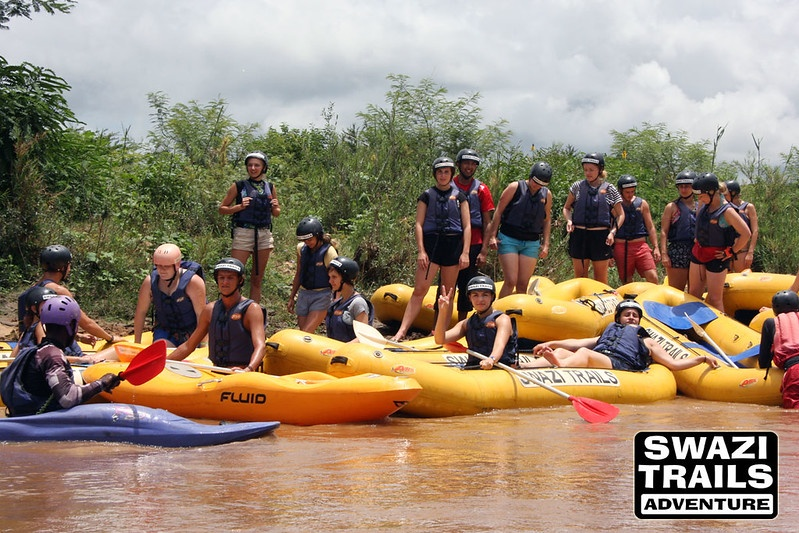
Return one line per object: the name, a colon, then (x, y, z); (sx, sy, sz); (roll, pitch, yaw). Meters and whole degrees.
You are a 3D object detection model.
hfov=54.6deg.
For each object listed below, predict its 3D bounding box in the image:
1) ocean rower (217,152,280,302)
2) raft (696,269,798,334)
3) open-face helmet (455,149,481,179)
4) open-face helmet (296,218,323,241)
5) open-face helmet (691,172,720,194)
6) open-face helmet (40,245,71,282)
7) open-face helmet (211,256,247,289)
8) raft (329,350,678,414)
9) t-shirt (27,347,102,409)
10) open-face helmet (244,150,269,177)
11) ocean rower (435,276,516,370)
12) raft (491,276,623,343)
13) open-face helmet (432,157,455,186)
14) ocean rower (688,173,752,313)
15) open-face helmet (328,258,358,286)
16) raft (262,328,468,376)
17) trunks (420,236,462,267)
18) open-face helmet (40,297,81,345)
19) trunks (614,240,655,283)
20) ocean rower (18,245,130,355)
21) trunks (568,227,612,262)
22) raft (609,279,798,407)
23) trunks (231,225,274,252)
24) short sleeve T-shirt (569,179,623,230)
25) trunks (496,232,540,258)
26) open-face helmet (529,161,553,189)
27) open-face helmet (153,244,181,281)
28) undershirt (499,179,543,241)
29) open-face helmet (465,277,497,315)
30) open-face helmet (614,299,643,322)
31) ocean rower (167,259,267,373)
ocean rower: (-2.192, -0.508, 11.715); (0.865, 2.354, 0.669); (-2, 6, -32)
raft: (5.772, 0.503, 12.966); (1.353, 0.978, 0.446); (-4, -39, 1)
open-face helmet: (0.969, -1.516, 11.294); (0.338, 0.450, 0.417); (1, -2, -17)
open-face helmet: (-1.274, -0.542, 11.008); (0.284, 0.303, 0.368); (-9, -5, 38)
open-face helmet: (4.553, -1.255, 11.570); (0.384, 0.330, 0.297); (2, -5, -7)
open-face helmet: (-4.269, -0.053, 9.668); (0.371, 0.482, 0.389); (3, 13, -9)
open-face helmet: (-1.988, 0.054, 9.123); (0.308, 0.282, 0.374); (2, 15, -1)
raft: (1.369, 1.443, 9.515); (3.141, 0.537, 1.512); (7, -5, -22)
t-shirt: (-3.317, 1.109, 7.671); (0.658, 0.321, 0.517); (26, 7, -25)
open-face helmet: (-2.146, -1.561, 11.644); (0.326, 0.379, 0.405); (1, 4, 9)
ocean rower: (0.999, 0.747, 10.063); (0.649, 1.274, 0.750); (-15, -28, 29)
raft: (2.487, 0.657, 11.812); (1.579, 0.542, 1.048); (-4, 5, -36)
open-face helmet: (0.645, -1.329, 11.012); (0.298, 0.443, 0.353); (0, 6, 4)
ocean rower: (4.972, -0.309, 12.055); (0.788, 2.397, 1.020); (-28, 43, -12)
open-face helmet: (-0.728, 0.052, 10.226); (0.371, 0.308, 0.294); (16, 1, -3)
raft: (-0.546, 1.053, 9.709); (1.832, 0.379, 0.997); (3, -3, -21)
trunks: (0.641, -0.233, 11.200); (0.580, 0.506, 0.409); (2, -4, 13)
open-face helmet: (-3.428, 0.545, 7.778); (0.391, 0.508, 0.443); (6, 0, -12)
trunks: (4.075, -0.108, 13.398); (0.547, 0.766, 0.437); (-13, 34, 2)
ocean rower: (-4.293, 0.401, 9.729); (1.264, 1.611, 1.228); (-9, 8, -38)
trunks: (3.169, -0.367, 12.804); (0.834, 0.664, 0.478); (6, 32, 18)
raft: (4.365, 1.123, 11.158); (1.149, 0.466, 2.295); (2, 25, -19)
trunks: (-2.203, -0.405, 11.678); (0.553, 0.405, 0.342); (5, -9, -26)
short sleeve T-shirt: (3.170, -1.002, 12.637); (0.850, 0.865, 0.463); (6, -7, 10)
trunks: (1.803, -0.285, 11.638); (0.526, 0.503, 0.365); (4, 6, -9)
open-face helmet: (2.138, -1.415, 11.661); (0.295, 0.314, 0.382); (4, 42, -24)
open-face helmet: (-2.922, -0.059, 9.687); (0.363, 0.509, 0.436); (1, 3, 8)
undershirt: (1.941, -0.854, 11.616); (0.586, 0.801, 0.429); (12, 13, -6)
open-face helmet: (1.024, 0.347, 9.611); (0.300, 0.465, 0.371); (1, 6, 11)
open-face helmet: (3.187, 0.564, 10.757); (0.286, 0.388, 0.309); (1, -8, 5)
ocean rower: (-2.251, 0.635, 9.438); (1.352, 1.671, 0.962); (0, -4, 19)
